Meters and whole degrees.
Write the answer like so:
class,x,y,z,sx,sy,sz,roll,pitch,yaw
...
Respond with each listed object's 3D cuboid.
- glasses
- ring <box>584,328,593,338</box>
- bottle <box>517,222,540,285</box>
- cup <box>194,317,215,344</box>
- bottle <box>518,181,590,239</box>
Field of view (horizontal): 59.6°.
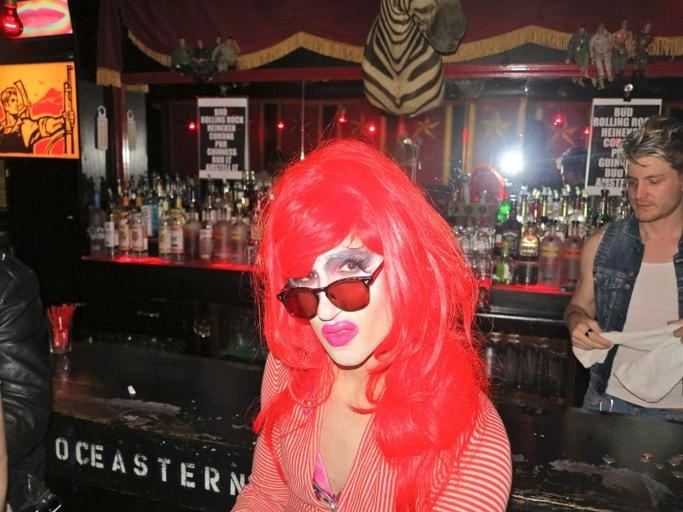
class,x,y,z,sx,sy,sz,roll,pitch,yaw
glasses,-0.042,0.122,1.752,0.210,0.074,0.209,-13,15,28
ring,1.182,0.374,2.872,0.025,0.014,0.037,6,41,34
bottle,1.282,-0.004,4.073,0.134,0.413,0.062,3,2,11
cup,-1.087,0.594,4.716,0.161,0.124,0.161,2,-18,1
bottle,1.518,-0.317,4.292,0.364,0.179,0.511,1,17,13
